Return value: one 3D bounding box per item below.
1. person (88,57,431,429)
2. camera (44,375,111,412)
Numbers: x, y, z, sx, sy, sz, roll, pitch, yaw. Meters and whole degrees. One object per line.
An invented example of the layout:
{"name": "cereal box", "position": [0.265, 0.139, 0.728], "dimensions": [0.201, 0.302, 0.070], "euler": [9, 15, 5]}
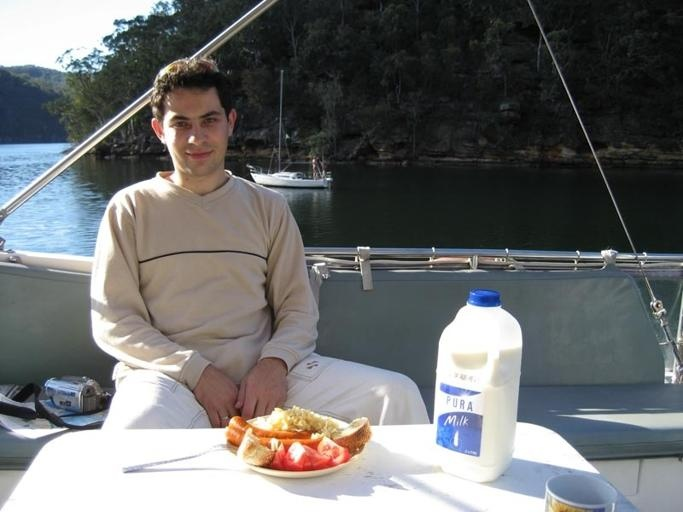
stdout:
{"name": "person", "position": [-0.335, 0.085, 1.961], "dimensions": [0.666, 1.281, 0.682], "euler": [3, 8, -17]}
{"name": "camera", "position": [-0.806, 0.386, 2.008], "dimensions": [0.155, 0.075, 0.093], "euler": [8, 10, 31]}
